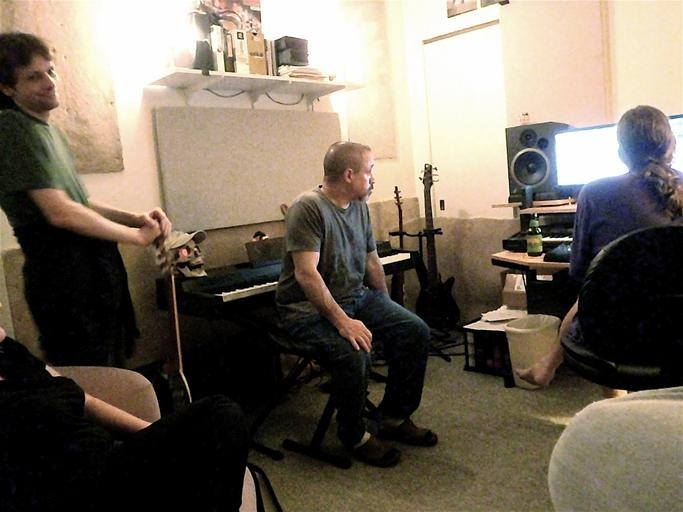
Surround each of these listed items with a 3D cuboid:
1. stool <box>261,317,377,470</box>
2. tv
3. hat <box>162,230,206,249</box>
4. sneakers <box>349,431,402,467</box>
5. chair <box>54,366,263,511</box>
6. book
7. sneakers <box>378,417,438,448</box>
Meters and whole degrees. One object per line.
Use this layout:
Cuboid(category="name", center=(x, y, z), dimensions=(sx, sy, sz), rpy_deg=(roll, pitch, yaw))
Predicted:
Cuboid(category="stool", center=(-0.101, 0.679, 2.889), dimensions=(0.434, 0.615, 0.412), rpy_deg=(2, 15, 26))
Cuboid(category="tv", center=(1.419, -0.506, 2.886), dimensions=(0.734, 0.439, 0.253), rpy_deg=(-6, 2, 33))
Cuboid(category="hat", center=(-0.925, -0.098, 3.278), dimensions=(0.222, 0.067, 0.140), rpy_deg=(-18, 3, 4))
Cuboid(category="sneakers", center=(0.165, 0.948, 2.782), dimensions=(0.287, 0.109, 0.107), rpy_deg=(-1, 11, 35))
Cuboid(category="chair", center=(-0.608, 0.556, 2.115), dimensions=(0.536, 0.613, 0.500), rpy_deg=(-1, 0, 21))
Cuboid(category="book", center=(-0.509, -1.231, 3.577), dimensions=(0.377, 0.165, 0.520), rpy_deg=(4, 7, 37))
Cuboid(category="sneakers", center=(0.340, 0.922, 2.957), dimensions=(0.344, 0.130, 0.124), rpy_deg=(-1, 3, 21))
